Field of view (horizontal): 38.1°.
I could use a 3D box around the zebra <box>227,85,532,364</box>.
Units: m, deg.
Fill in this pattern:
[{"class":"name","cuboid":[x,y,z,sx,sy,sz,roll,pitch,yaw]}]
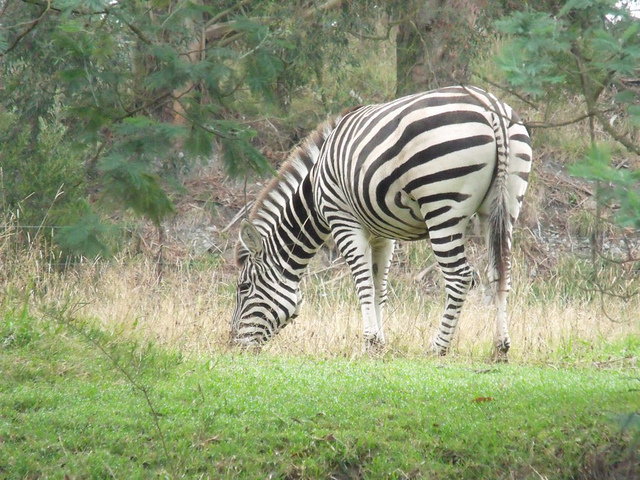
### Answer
[{"class":"zebra","cuboid":[0.530,-0.051,9.794,3.910,2.794,1.215,-11,-9,42]}]
